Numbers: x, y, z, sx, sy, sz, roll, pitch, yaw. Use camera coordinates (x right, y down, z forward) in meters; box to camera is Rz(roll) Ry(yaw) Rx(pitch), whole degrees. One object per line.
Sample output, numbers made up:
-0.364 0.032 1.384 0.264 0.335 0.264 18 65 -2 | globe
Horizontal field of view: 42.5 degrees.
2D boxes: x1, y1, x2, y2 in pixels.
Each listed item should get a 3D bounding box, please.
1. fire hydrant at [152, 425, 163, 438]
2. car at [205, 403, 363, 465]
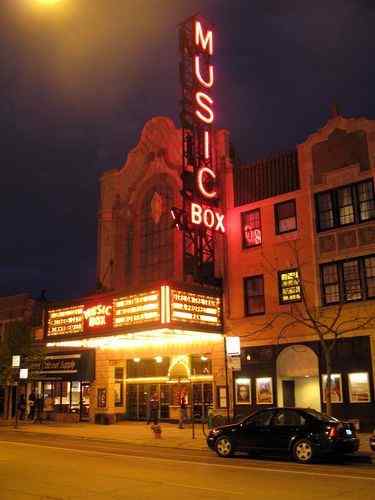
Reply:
-1.301 7.641 20.161 0.378 0.533 0.792 1 -19 -4 | fire hydrant
2.576 5.202 13.466 3.775 1.291 1.746 -12 -25 33 | car
